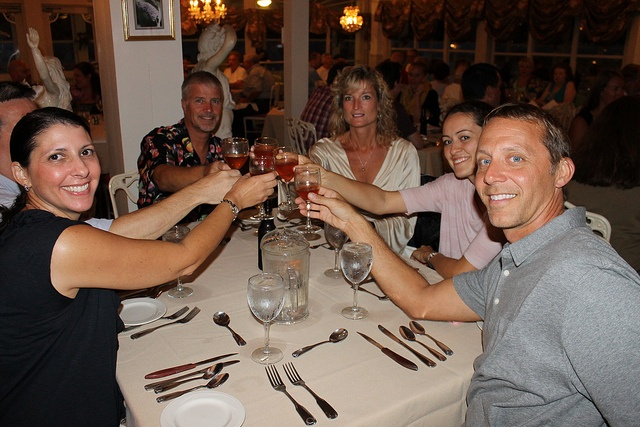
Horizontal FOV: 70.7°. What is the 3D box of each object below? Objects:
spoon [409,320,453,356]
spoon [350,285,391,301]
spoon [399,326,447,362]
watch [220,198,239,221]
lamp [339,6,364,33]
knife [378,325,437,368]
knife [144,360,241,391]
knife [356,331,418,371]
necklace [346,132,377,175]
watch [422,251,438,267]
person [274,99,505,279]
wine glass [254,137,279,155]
[{"bbox_3d":[0.441,0.500,1.827,0.055,0.039,0.283,-10,20,-15],"label":"spoon"},{"bbox_3d":[0.230,0.367,2.069,0.031,0.029,0.193,-17,26,-41],"label":"spoon"},{"bbox_3d":[0.397,0.509,1.799,0.060,0.041,0.310,-5,17,-18],"label":"spoon"},{"bbox_3d":[-0.402,-0.018,2.057,0.020,0.077,0.081,-35,-16,-3],"label":"watch"},{"bbox_3d":[0.795,-5.211,12.006,0.549,0.642,0.469,-9,21,-21],"label":"lamp"},{"bbox_3d":[0.341,0.528,1.776,0.028,0.020,0.253,-8,21,-25],"label":"knife"},{"bbox_3d":[-0.456,0.589,1.641,0.340,0.029,0.092,-14,27,-29],"label":"knife"},{"bbox_3d":[0.246,0.519,1.780,0.062,0.019,0.377,-19,28,-27],"label":"knife"},{"bbox_3d":[0.304,-0.456,3.515,0.195,0.357,0.092,-2,-10,2],"label":"necklace"},{"bbox_3d":[0.614,0.248,2.511,0.062,0.076,0.029,4,-17,12],"label":"watch"},{"bbox_3d":[0.358,-0.250,2.739,1.249,1.434,0.791,1,45,-3],"label":"person"},{"bbox_3d":[-0.306,-0.393,2.564,0.113,0.103,0.130,-2,20,-14],"label":"wine glass"}]
